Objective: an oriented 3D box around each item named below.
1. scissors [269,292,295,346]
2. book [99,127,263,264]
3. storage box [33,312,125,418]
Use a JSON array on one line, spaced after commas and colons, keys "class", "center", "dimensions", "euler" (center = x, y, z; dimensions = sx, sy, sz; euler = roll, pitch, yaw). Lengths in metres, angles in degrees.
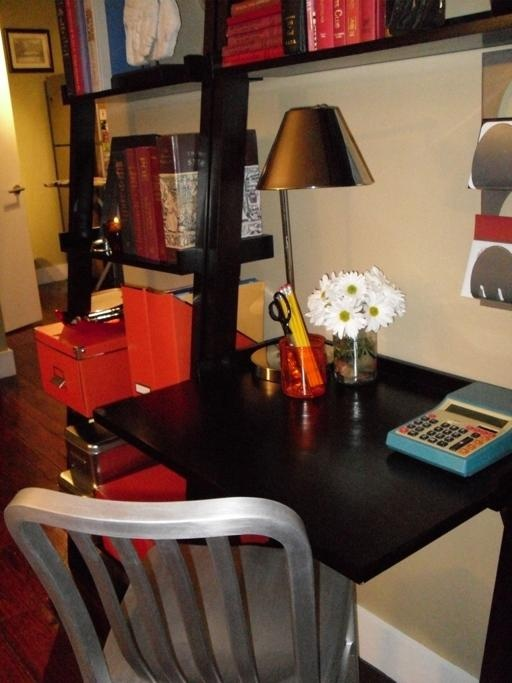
[{"class": "scissors", "center": [0.057, -0.043, 1.102], "dimensions": [0.012, 0.100, 0.058], "euler": [-6, 8, -23]}, {"class": "book", "center": [-0.174, -0.349, 1.319], "dimensions": [0.187, 0.323, 0.338], "euler": [-15, 23, -38]}, {"class": "storage box", "center": [-0.527, 0.073, 1.881], "dimensions": [0.365, 0.270, 0.338], "euler": [-16, 25, -41]}]
